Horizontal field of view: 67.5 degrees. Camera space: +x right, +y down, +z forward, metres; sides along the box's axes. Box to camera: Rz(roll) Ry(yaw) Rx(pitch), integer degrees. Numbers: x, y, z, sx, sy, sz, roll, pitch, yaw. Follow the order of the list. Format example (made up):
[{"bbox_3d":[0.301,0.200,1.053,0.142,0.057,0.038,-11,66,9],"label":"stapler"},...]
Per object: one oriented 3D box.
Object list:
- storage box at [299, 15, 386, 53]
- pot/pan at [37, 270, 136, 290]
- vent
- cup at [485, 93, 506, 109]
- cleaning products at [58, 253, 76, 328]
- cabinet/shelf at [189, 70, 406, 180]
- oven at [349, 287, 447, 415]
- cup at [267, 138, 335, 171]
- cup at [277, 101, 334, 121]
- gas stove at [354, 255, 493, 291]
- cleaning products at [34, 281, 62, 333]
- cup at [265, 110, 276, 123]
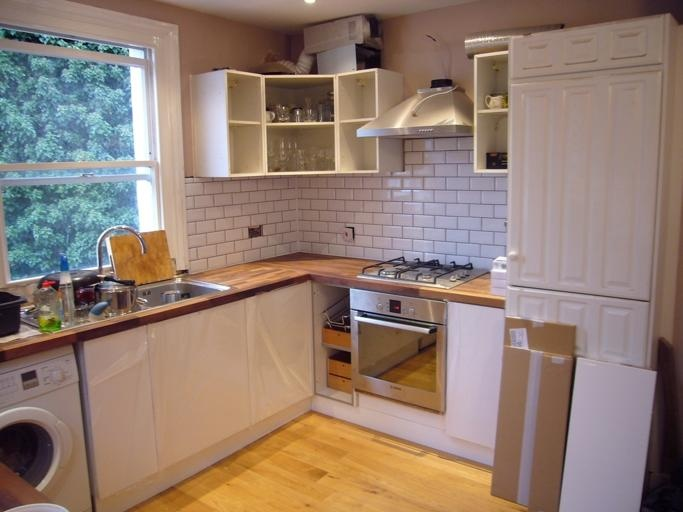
[{"bbox_3d":[-0.004,-1.743,4.103,0.514,0.180,0.275,3,8,32],"label":"storage box"},{"bbox_3d":[-1.522,0.136,3.034,0.372,0.130,0.214,5,6,14],"label":"pot/pan"},{"bbox_3d":[0.724,-1.062,3.756,1.054,0.335,0.996,-4,12,-19],"label":"vent"},{"bbox_3d":[1.028,-1.016,3.354,0.145,0.095,0.098,8,17,40],"label":"cup"},{"bbox_3d":[-1.552,0.204,2.886,0.093,0.392,0.090,3,6,28],"label":"cleaning products"},{"bbox_3d":[-0.345,-1.044,4.114,1.639,0.803,0.824,-2,14,-5],"label":"cabinet/shelf"},{"bbox_3d":[0.486,0.642,3.760,0.745,0.780,0.573,4,6,26],"label":"oven"},{"bbox_3d":[-0.334,-0.828,4.179,0.361,0.168,0.186,4,7,34],"label":"cup"},{"bbox_3d":[-0.290,-1.141,4.070,0.401,0.156,0.205,1,9,13],"label":"cup"},{"bbox_3d":[0.587,0.099,3.742,0.837,0.060,0.654,8,16,33],"label":"gas stove"},{"bbox_3d":[-1.580,0.285,2.763,0.166,0.243,0.164,-9,5,-31],"label":"cleaning products"},{"bbox_3d":[-0.548,-1.080,3.965,0.054,0.088,0.138,1,14,6],"label":"cup"}]
